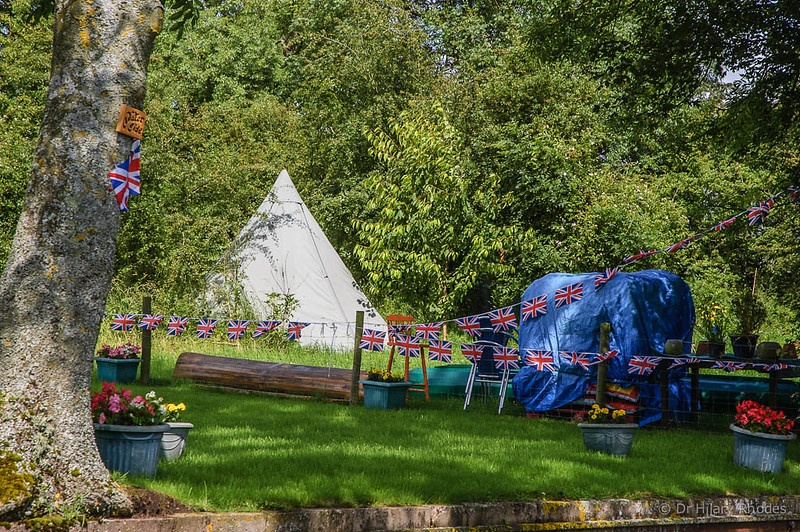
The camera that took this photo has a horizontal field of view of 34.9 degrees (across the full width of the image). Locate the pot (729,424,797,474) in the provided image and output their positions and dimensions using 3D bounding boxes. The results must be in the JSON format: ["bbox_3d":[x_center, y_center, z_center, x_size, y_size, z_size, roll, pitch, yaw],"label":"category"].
[{"bbox_3d":[6.605,3.377,23.208,0.846,0.564,0.862,6,-10,1],"label":"pot"}]

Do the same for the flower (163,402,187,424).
[{"bbox_3d":[-3.914,2.590,22.343,0.424,0.304,0.421,5,-4,-23],"label":"flower"}]

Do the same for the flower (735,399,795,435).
[{"bbox_3d":[6.684,2.830,23.304,0.742,0.379,0.725,0,15,-36],"label":"flower"}]

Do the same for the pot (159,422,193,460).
[{"bbox_3d":[-3.932,3.054,22.180,0.686,0.502,0.608,1,-8,-10],"label":"pot"}]

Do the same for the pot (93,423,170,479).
[{"bbox_3d":[-4.524,3.108,21.368,0.942,0.632,0.948,0,-11,0],"label":"pot"}]

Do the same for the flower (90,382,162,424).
[{"bbox_3d":[-4.684,2.477,21.879,1.305,0.638,1.181,1,-11,23],"label":"flower"}]

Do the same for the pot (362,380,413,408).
[{"bbox_3d":[-0.262,2.699,26.304,0.608,0.422,0.822,7,-8,-40],"label":"pot"}]
